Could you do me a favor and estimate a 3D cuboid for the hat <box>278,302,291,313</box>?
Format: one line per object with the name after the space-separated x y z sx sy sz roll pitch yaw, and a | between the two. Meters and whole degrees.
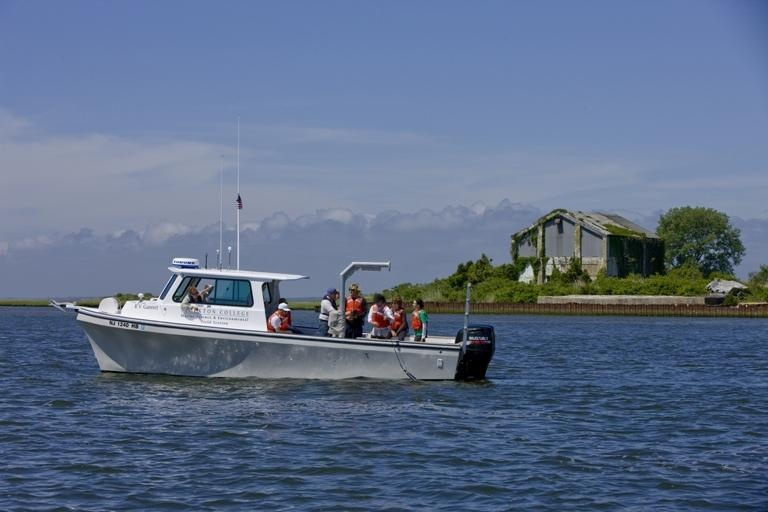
-3.442 1.754 45.204 0.271 0.183 0.356 -3 0 -44 | hat

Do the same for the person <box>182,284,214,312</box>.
-6.470 1.432 45.362 1.347 0.756 0.532 -18 7 21 | person

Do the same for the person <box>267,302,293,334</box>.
-3.511 2.161 45.008 0.915 1.291 1.359 1 3 -6 | person
